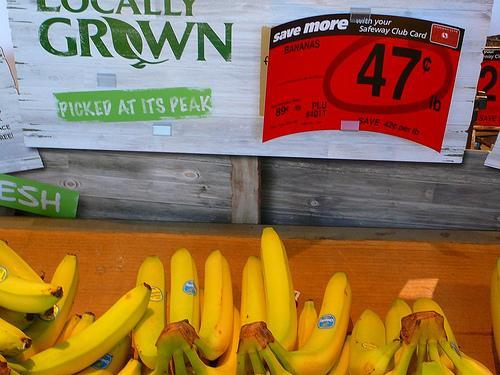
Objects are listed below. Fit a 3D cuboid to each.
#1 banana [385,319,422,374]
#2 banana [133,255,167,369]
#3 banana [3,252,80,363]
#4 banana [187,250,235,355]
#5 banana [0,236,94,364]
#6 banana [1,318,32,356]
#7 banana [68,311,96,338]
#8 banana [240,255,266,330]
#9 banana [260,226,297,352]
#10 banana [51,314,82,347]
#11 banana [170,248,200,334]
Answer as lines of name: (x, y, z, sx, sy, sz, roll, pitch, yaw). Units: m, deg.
banana: (0.363, 0.378, 1.155, 0.040, 0.180, 0.052, 12, -3, -20)
banana: (-0.253, 0.337, 1.329, 0.074, 0.095, 0.294, 2, 57, -4)
banana: (-0.507, 0.315, 1.248, 0.076, 0.370, 0.125, 24, -18, -12)
banana: (-0.126, 0.307, 1.298, 0.073, 0.176, 0.270, -16, 48, 17)
banana: (-0.542, 0.299, 1.221, 0.119, 0.489, 0.174, -12, 58, -3)
banana: (-0.557, 0.361, 1.133, 0.080, 0.085, 0.036, 6, 13, 13)
banana: (-0.447, 0.363, 1.294, 0.025, 0.030, 0.093, 27, 43, 3)
banana: (0.015, 0.290, 1.344, 0.053, 0.065, 0.196, -7, 57, 15)
banana: (0.075, 0.275, 1.317, 0.075, 0.305, 0.101, -9, -23, 2)
banana: (-0.487, 0.378, 1.283, 0.024, 0.095, 0.031, 42, -25, -11)
banana: (-0.180, 0.287, 1.357, 0.065, 0.074, 0.224, 2, 54, -5)
